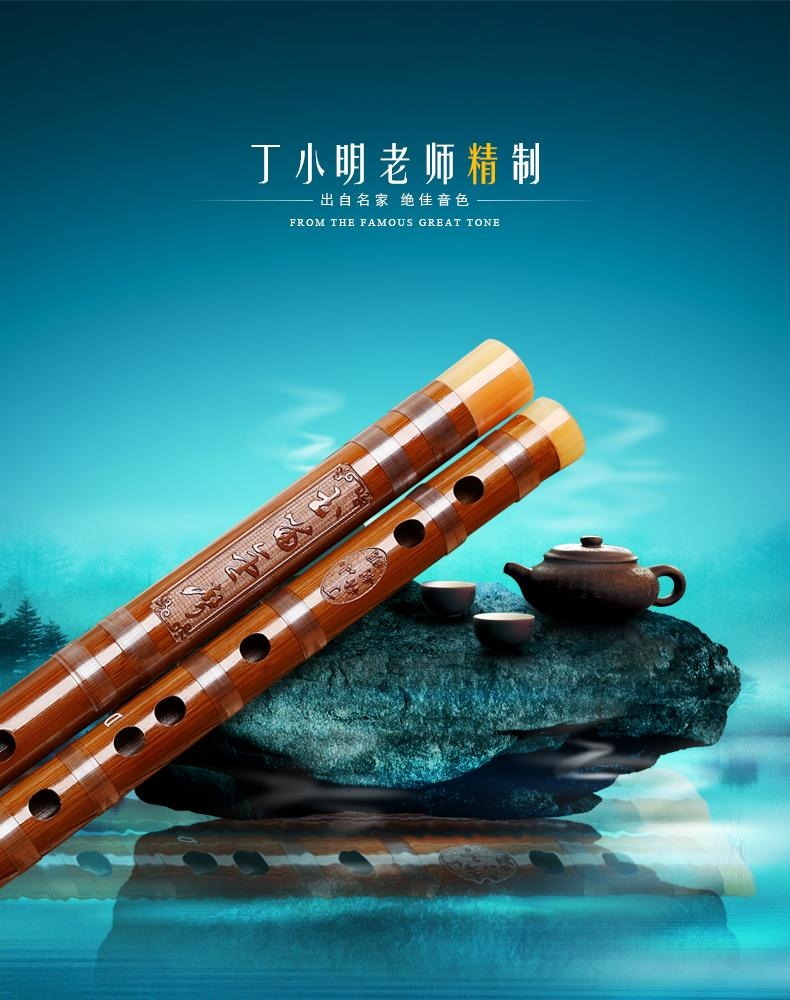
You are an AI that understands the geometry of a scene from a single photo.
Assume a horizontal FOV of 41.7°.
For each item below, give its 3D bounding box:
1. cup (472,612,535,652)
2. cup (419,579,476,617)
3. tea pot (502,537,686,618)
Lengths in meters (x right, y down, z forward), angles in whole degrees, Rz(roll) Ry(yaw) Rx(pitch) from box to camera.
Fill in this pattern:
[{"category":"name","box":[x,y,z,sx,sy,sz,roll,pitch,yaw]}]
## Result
[{"category":"cup","box":[0.252,0.317,2.478,0.122,0.051,0.115,-2,-10,0]},{"category":"cup","box":[0.129,0.246,2.584,0.123,0.055,0.105,-1,-15,2]},{"category":"tea pot","box":[0.457,0.200,2.472,0.366,0.130,0.242,-1,-8,5]}]
